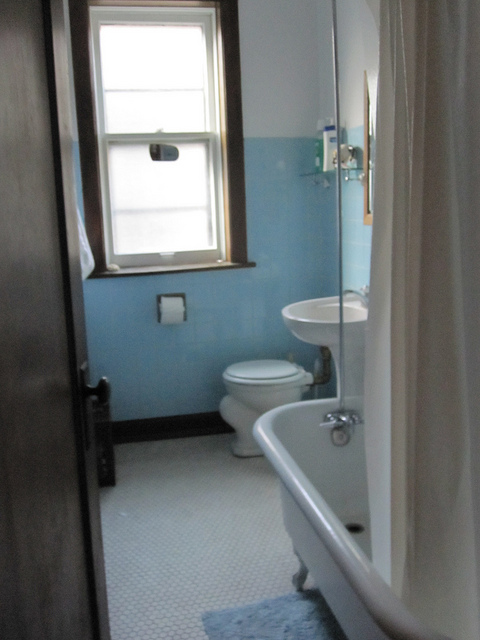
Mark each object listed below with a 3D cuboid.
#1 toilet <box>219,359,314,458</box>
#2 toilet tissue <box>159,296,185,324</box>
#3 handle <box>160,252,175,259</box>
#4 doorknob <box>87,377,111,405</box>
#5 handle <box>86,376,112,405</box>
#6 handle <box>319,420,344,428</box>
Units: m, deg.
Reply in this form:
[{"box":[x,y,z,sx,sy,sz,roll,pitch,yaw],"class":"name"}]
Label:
[{"box":[0.131,0.454,3.006,0.459,0.569,0.460,-2,20,-11],"class":"toilet"},{"box":[-0.365,-0.058,2.999,0.132,0.135,0.046,-3,7,-7],"class":"toilet tissue"},{"box":[-0.417,-0.368,3.212,0.084,0.034,0.023,-6,9,-27],"class":"handle"},{"box":[-0.215,0.101,0.853,0.031,0.041,0.036,0,12,-9],"class":"doorknob"},{"box":[-0.222,0.106,0.880,0.039,0.059,0.034,4,8,5],"class":"handle"},{"box":[0.271,0.313,1.678,0.023,0.026,0.087,8,-15,-41],"class":"handle"}]
